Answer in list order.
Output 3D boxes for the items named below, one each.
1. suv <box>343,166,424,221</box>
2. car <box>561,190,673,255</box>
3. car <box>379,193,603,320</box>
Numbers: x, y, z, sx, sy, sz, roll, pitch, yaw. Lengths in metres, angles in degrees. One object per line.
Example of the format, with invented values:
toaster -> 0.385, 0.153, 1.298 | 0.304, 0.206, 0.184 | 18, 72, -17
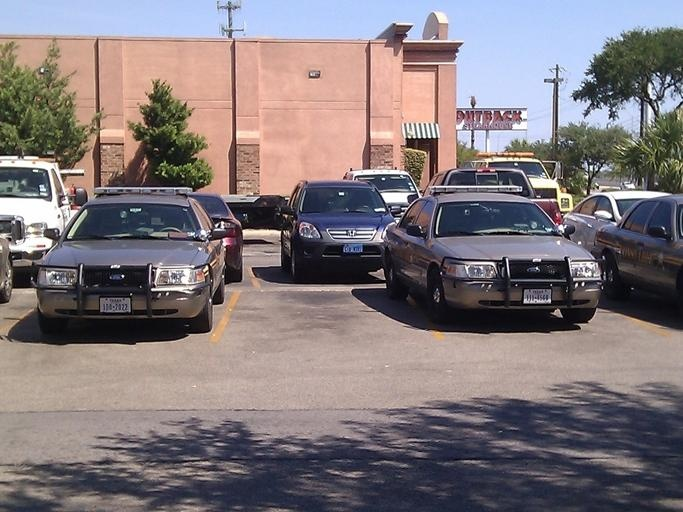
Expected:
suv -> 1.412, -1.607, 23.512 | 1.138, 0.939, 1.992 | -1, 3, -9
car -> 5.226, -0.561, 18.222 | 1.248, 0.944, 2.798 | -1, 0, -12
car -> 2.249, -0.118, 14.346 | 1.622, 1.145, 3.395 | 0, 1, -9
